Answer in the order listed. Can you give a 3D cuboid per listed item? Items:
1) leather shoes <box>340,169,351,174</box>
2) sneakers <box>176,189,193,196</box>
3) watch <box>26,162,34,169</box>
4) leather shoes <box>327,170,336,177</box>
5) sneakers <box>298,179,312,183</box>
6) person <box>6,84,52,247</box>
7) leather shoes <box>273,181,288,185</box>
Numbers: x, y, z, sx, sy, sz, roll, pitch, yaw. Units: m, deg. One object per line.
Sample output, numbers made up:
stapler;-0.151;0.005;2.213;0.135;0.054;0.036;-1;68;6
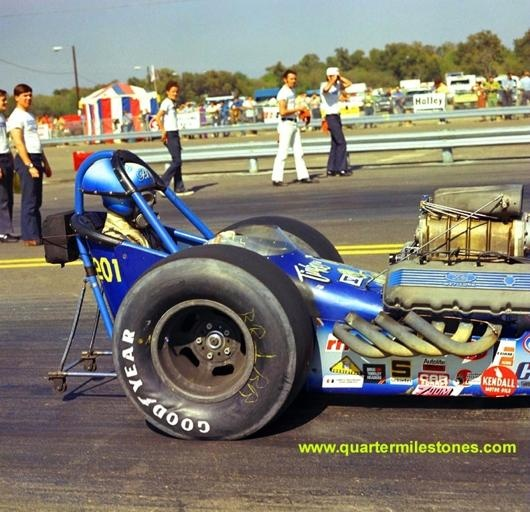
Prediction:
leather shoes;1.329;-1.411;13.300;0.200;0.067;0.084;-3;-31;0
sneakers;-1.251;-1.000;12.531;0.293;0.100;0.113;-2;-17;3
watch;-2.508;-0.968;8.539;0.068;0.063;0.059;-6;13;-10
leather shoes;1.100;-1.390;13.431;0.090;0.119;0.123;11;3;-43
sneakers;0.628;-1.183;12.545;0.075;0.082;0.216;-2;-4;-30
person;-2.560;-0.978;8.756;0.402;1.753;0.665;-8;14;-15
leather shoes;0.222;-1.154;12.561;0.185;0.055;0.078;-1;-4;21
